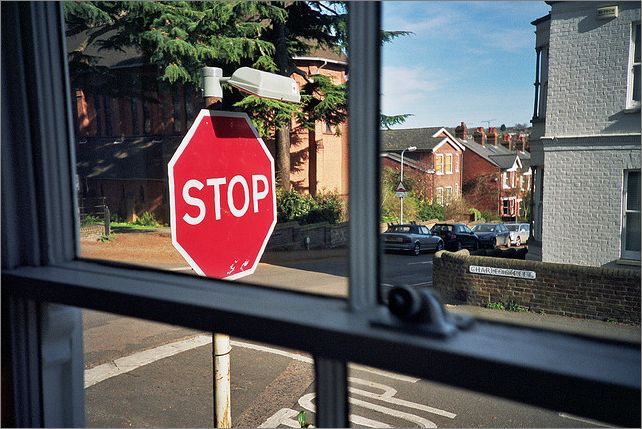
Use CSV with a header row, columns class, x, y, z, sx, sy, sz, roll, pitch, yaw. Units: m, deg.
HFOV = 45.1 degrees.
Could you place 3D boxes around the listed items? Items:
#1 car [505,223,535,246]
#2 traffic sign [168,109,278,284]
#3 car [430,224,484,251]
class,x,y,z,sx,sy,sz,roll,pitch,yaw
car,6.508,0.717,25.475,0.910,0.785,1.575,-3,-2,41
traffic sign,-0.552,-0.124,4.607,0.680,0.972,0.283,-5,10,-42
car,4.139,0.752,23.784,0.874,0.696,1.982,0,4,32
